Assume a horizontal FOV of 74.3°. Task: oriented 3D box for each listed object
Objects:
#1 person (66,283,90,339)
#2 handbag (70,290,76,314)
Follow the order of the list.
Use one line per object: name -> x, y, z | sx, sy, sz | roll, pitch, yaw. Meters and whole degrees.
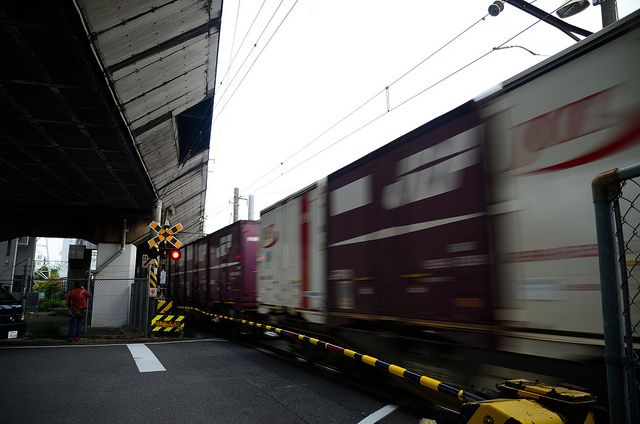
person -> -8.378, 3.457, 14.552 | 0.647, 1.938, 1.566 | 5, -10, -28
handbag -> -8.212, 3.062, 14.024 | 0.169, 0.728, 0.285 | 5, -10, -28
